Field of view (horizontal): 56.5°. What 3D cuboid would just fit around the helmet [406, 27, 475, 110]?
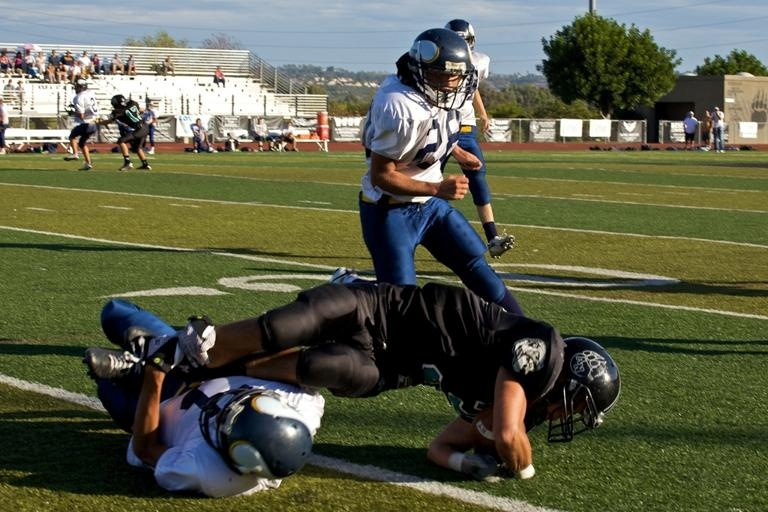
[{"bbox_3d":[0.293,-1.024,3.749,0.409,0.317,0.334,39,39,26],"label":"helmet"}]

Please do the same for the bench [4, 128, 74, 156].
[{"bbox_3d":[-13.137,-4.497,27.279,2.162,0.839,2.703,-4,14,-24],"label":"bench"}]

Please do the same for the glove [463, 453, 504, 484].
[{"bbox_3d":[0.397,0.864,2.920,0.148,0.058,0.111,9,24,-26],"label":"glove"}]

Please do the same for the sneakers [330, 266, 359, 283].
[{"bbox_3d":[-0.174,0.082,3.201,0.170,0.066,0.056,-4,17,-9],"label":"sneakers"}]

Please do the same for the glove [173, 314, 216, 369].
[{"bbox_3d":[-0.705,0.311,2.797,0.120,0.148,0.163,5,28,41],"label":"glove"}]

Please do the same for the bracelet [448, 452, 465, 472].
[{"bbox_3d":[0.297,0.851,2.960,0.078,0.054,0.075,-1,-16,12],"label":"bracelet"}]

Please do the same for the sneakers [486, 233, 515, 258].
[{"bbox_3d":[0.919,-0.086,5.618,0.184,0.121,0.276,2,-7,-1],"label":"sneakers"}]

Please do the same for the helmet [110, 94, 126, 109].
[{"bbox_3d":[-6.179,-3.645,16.763,0.314,0.314,0.568,-4,14,-21],"label":"helmet"}]

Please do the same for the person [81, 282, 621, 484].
[{"bbox_3d":[-0.077,0.525,2.969,2.099,0.685,0.545,8,-12,-5],"label":"person"}]

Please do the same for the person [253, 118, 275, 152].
[{"bbox_3d":[-5.659,-5.868,33.985,0.926,1.461,0.770,8,13,43],"label":"person"}]

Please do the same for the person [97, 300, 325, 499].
[{"bbox_3d":[-0.784,0.601,2.888,0.567,0.348,0.997,-21,30,-40],"label":"person"}]
